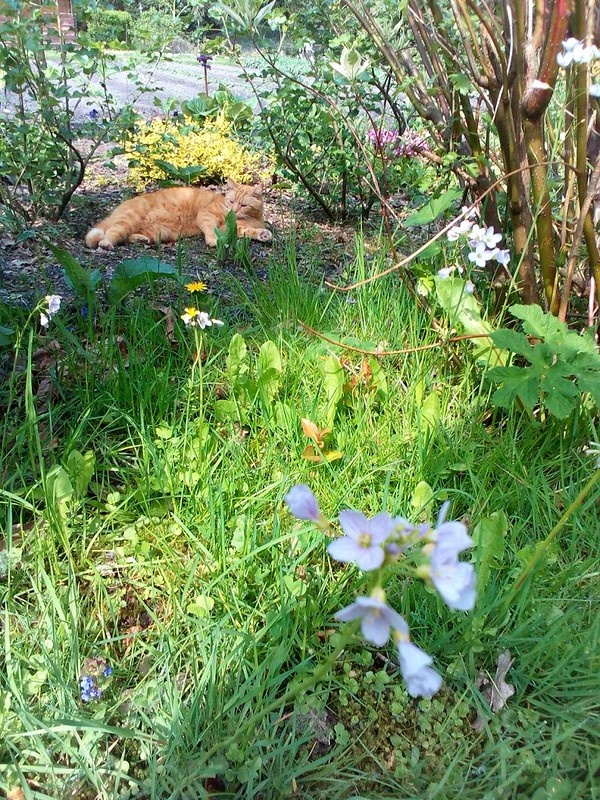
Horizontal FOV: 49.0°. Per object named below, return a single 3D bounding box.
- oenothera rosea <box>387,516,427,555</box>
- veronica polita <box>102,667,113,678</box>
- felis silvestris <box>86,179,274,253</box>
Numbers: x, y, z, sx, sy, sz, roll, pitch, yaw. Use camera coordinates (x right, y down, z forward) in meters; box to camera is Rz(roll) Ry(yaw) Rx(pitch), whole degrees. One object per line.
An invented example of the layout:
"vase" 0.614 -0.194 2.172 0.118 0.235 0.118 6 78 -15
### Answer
"oenothera rosea" 0.117 0.153 0.742 0.041 0.025 0.046 -19 4 36
"veronica polita" -0.385 0.545 1.317 0.017 0.018 0.019 7 71 -16
"felis silvestris" -0.664 -1.003 3.607 0.921 0.367 0.883 -16 28 -24
